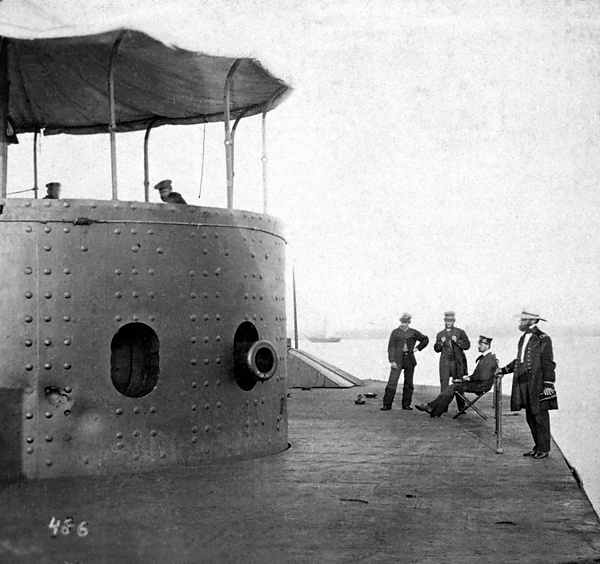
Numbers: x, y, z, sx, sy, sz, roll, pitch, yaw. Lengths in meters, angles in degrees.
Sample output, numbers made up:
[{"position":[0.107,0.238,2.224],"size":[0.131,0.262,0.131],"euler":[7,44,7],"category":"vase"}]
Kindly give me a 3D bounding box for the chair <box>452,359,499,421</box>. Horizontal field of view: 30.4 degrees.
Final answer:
[{"position":[2.378,1.401,15.078],"size":[0.539,0.957,0.657],"euler":[6,5,10],"category":"chair"}]

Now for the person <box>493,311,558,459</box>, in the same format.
[{"position":[2.433,1.026,11.398],"size":[0.454,1.439,0.840],"euler":[1,2,5],"category":"person"}]

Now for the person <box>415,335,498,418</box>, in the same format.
[{"position":[2.217,1.244,14.801],"size":[1.159,1.081,0.684],"euler":[-1,2,-38],"category":"person"}]
